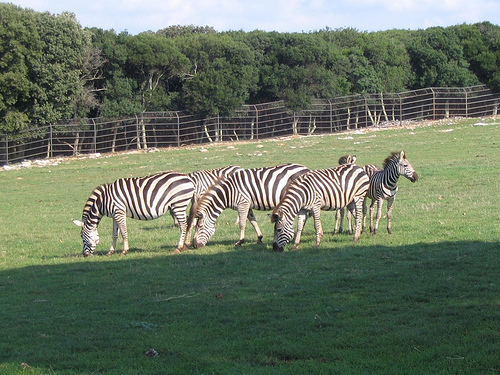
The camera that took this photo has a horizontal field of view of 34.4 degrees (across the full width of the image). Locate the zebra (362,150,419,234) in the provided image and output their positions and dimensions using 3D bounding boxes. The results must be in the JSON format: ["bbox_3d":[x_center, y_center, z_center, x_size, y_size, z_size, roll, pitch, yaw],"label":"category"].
[{"bbox_3d":[4.760,0.274,28.315,0.945,2.905,3.495,3,-1,-17],"label":"zebra"}]
